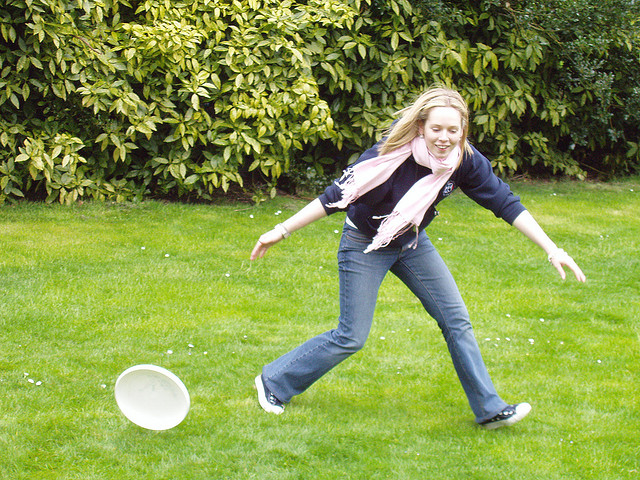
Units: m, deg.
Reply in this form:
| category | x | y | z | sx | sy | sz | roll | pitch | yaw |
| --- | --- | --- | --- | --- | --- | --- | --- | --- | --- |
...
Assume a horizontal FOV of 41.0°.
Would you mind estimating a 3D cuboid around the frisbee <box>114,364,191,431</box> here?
| category | x | y | z | sx | sy | sz | roll | pitch | yaw |
| --- | --- | --- | --- | --- | --- | --- | --- | --- | --- |
| frisbee | -1.185 | 1.107 | 6.329 | 0.508 | 0.514 | 0.124 | 23 | 30 | -1 |

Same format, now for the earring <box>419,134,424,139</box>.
| category | x | y | z | sx | sy | sz | roll | pitch | yaw |
| --- | --- | --- | --- | --- | --- | --- | --- | --- | --- |
| earring | 0.750 | -0.752 | 6.245 | 0.021 | 0.030 | 0.007 | -2 | -2 | 0 |

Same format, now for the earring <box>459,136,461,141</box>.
| category | x | y | z | sx | sy | sz | roll | pitch | yaw |
| --- | --- | --- | --- | --- | --- | --- | --- | --- | --- |
| earring | 1.025 | -0.738 | 6.238 | 0.007 | 0.027 | 0.028 | 6 | 16 | 4 |

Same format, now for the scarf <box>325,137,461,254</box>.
| category | x | y | z | sx | sy | sz | roll | pitch | yaw |
| --- | --- | --- | --- | --- | --- | --- | --- | --- | --- |
| scarf | 0.550 | -0.338 | 6.286 | 0.909 | 0.845 | 0.257 | 7 | 12 | 4 |

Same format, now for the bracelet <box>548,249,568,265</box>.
| category | x | y | z | sx | sy | sz | roll | pitch | yaw |
| --- | --- | --- | --- | --- | --- | --- | --- | --- | --- |
| bracelet | 1.796 | 0.134 | 6.315 | 0.148 | 0.037 | 0.154 | -31 | 17 | -21 |

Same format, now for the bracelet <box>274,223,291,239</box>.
| category | x | y | z | sx | sy | sz | roll | pitch | yaw |
| --- | --- | --- | --- | --- | --- | --- | --- | --- | --- |
| bracelet | -0.271 | -0.072 | 6.339 | 0.115 | 0.069 | 0.114 | 60 | 4 | 32 |
